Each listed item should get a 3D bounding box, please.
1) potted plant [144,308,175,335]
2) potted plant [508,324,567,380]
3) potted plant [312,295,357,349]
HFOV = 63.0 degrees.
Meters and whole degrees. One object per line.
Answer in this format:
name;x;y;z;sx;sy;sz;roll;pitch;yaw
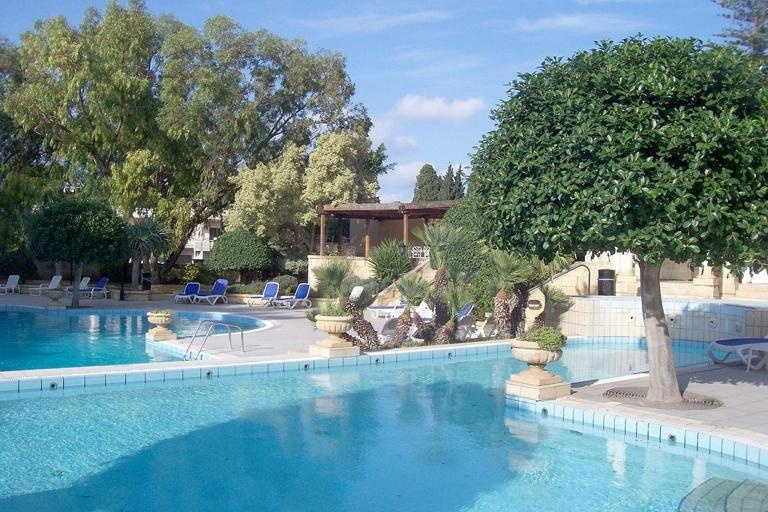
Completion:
potted plant;-5.949;1.855;16.846;0.856;1.001;0.942;0;0;-17
potted plant;2.823;1.837;11.758;0.862;1.039;0.970;1;0;-24
potted plant;-1.134;1.694;14.337;0.828;0.806;0.805;-1;-2;0
